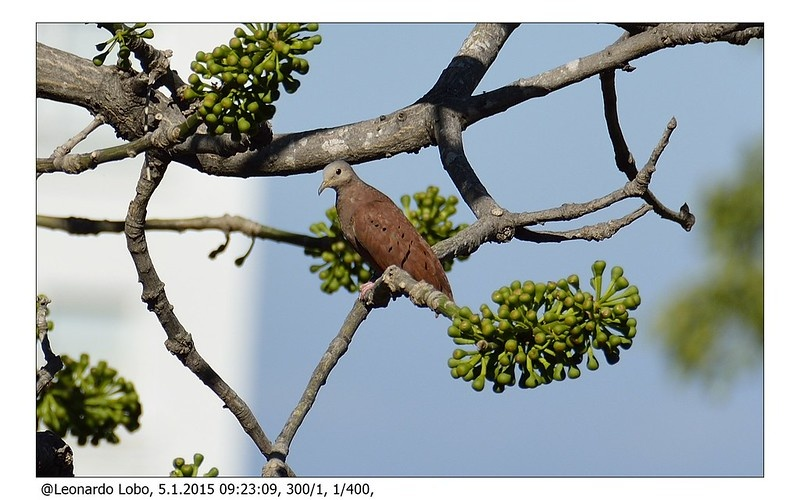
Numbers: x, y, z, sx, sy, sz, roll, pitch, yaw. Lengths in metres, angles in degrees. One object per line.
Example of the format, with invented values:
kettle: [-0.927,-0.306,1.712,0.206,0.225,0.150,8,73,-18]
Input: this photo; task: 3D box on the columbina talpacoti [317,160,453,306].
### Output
columbina talpacoti: [-0.168,-0.242,14.792,2.023,0.932,1.988,0,-92,19]

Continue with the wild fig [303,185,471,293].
wild fig: [-0.120,-0.055,13.917,1.772,0.671,1.153,2,-90,32]

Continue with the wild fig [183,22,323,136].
wild fig: [-1.456,-1.665,13.113,0.865,0.552,1.336,36,-69,-23]

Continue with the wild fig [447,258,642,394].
wild fig: [1.273,0.704,12.432,1.728,0.760,0.807,-13,-59,2]
